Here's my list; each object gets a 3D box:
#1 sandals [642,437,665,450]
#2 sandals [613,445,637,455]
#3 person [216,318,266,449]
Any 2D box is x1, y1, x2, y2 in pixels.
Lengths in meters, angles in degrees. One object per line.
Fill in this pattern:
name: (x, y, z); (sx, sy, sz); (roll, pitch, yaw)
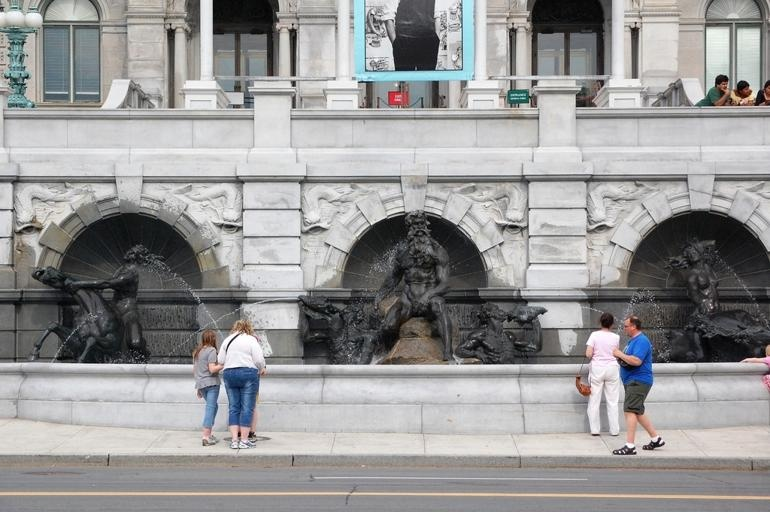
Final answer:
sandals: (6.102, 4.205, 37.399); (0.529, 0.219, 0.222); (-12, 14, 17)
sandals: (5.395, 4.310, 37.090); (0.572, 0.206, 0.202); (1, -5, 5)
person: (-3.308, 2.856, 37.823); (1.244, 2.649, 1.140); (0, -1, -14)
